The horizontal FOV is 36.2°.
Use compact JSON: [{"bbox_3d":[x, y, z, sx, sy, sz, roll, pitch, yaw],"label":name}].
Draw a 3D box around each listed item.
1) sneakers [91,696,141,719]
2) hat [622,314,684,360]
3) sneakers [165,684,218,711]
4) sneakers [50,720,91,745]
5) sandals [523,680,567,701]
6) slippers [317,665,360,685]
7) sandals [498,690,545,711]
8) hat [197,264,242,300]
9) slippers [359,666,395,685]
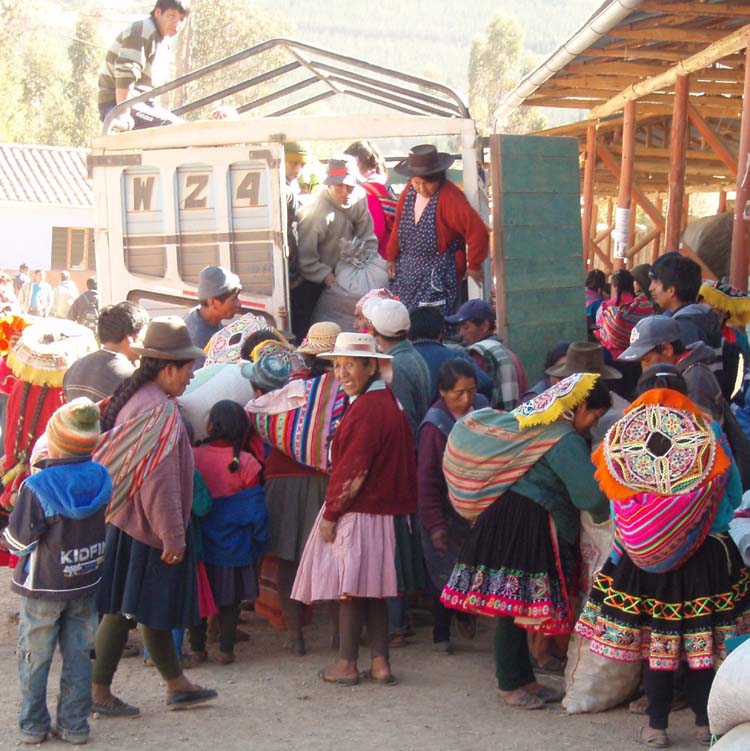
[{"bbox_3d":[-1.223,1.556,5.365,0.192,0.077,0.096,1,-3,-4],"label":"sneakers"},{"bbox_3d":[1.388,-0.205,5.862,0.301,0.161,0.196,-18,10,-2],"label":"hat"},{"bbox_3d":[-0.881,1.532,5.491,0.266,0.105,0.096,-7,6,-25],"label":"sneakers"},{"bbox_3d":[-1.333,1.582,5.029,0.072,0.080,0.192,2,2,-39],"label":"sneakers"},{"bbox_3d":[0.810,1.520,5.486,0.078,0.058,0.191,-3,2,-41],"label":"sandals"},{"bbox_3d":[-0.190,1.529,5.818,0.196,0.082,0.073,9,2,33],"label":"slippers"},{"bbox_3d":[0.686,1.529,5.410,0.162,0.061,0.086,-3,1,28],"label":"sandals"},{"bbox_3d":[-0.994,-0.591,7.300,0.256,0.153,0.177,-9,23,-4],"label":"hat"},{"bbox_3d":[0.003,1.517,5.810,0.064,0.076,0.185,2,-1,-32],"label":"slippers"}]
